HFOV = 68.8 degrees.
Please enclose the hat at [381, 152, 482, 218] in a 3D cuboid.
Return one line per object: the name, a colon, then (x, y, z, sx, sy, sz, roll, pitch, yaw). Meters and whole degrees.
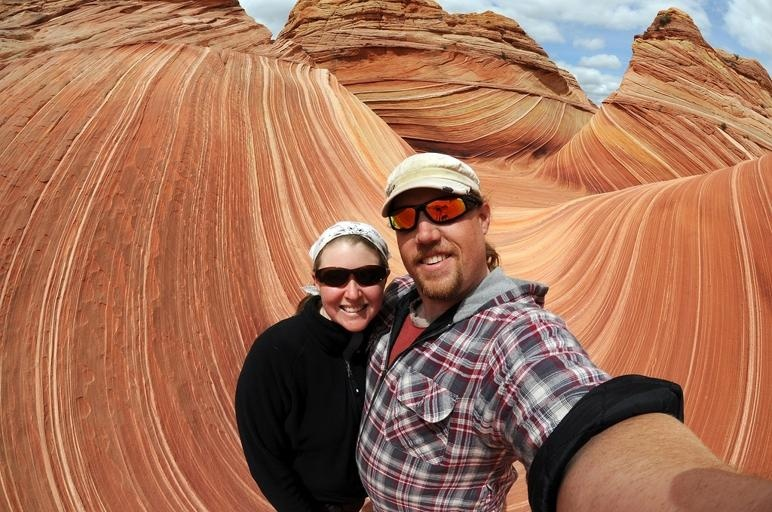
hat: (0.360, -0.459, 3.537, 0.455, 0.222, 0.585, -19, -17, 35)
